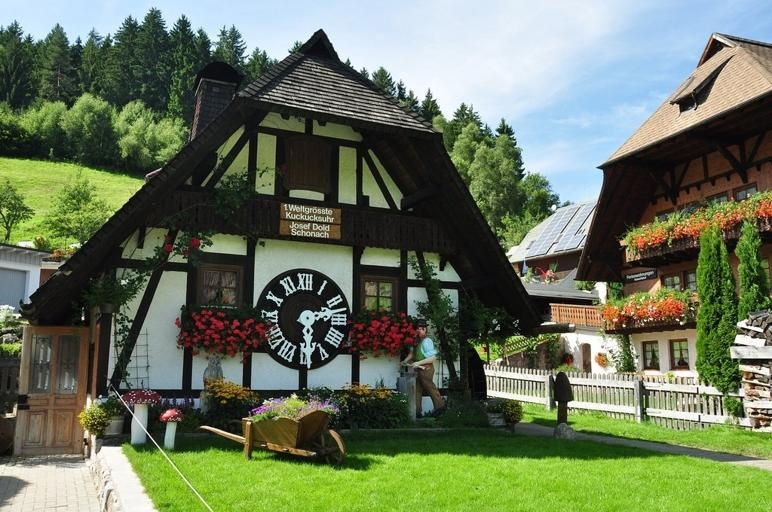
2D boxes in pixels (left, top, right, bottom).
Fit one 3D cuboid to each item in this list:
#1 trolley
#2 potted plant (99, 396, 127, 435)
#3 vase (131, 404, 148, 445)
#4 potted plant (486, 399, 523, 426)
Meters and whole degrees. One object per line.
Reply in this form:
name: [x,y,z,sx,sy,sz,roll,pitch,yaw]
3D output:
trolley: [-3.304,4.919,20.424,4.427,1.573,1.414,-1,-11,27]
potted plant: [-8.037,4.788,22.198,0.890,0.998,0.928,-3,-9,20]
vase: [-6.984,4.778,21.197,0.435,1.130,1.286,4,-15,-18]
potted plant: [3.973,5.250,25.461,0.882,1.097,1.025,1,-8,-9]
